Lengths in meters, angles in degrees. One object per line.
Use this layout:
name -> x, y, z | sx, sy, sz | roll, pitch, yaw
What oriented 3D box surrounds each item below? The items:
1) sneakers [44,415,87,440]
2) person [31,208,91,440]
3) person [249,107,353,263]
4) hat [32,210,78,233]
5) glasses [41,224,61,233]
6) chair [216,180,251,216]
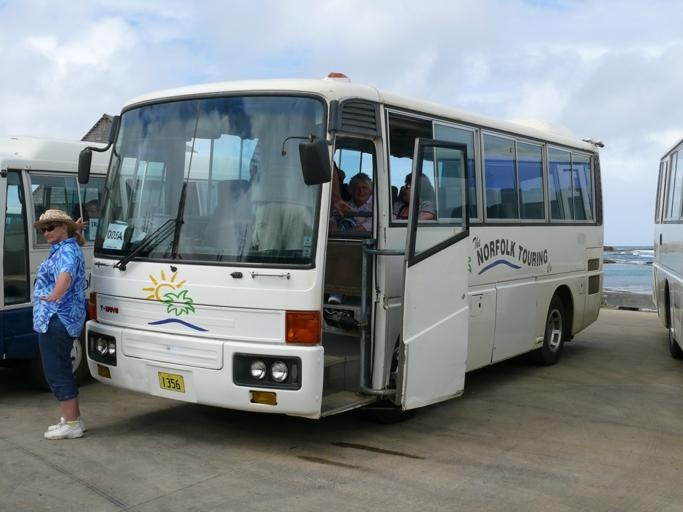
sneakers -> -3.057, 1.890, 5.754 | 0.385, 0.204, 0.207 | 3, 0, -6
person -> -3.092, 0.733, 5.749 | 0.540, 2.505, 0.500 | 2, 1, 44
person -> -0.560, -0.750, 5.111 | 0.744, 1.588, 0.263 | 1, 1, 19
hat -> -3.462, -0.414, 6.194 | 0.324, 0.109, 0.358 | -5, -17, 3
glasses -> -3.249, -0.321, 5.819 | 0.122, 0.044, 0.131 | -1, 10, -1
chair -> -1.141, -0.629, 5.326 | 0.277, 0.410, 0.285 | 4, -8, 19
